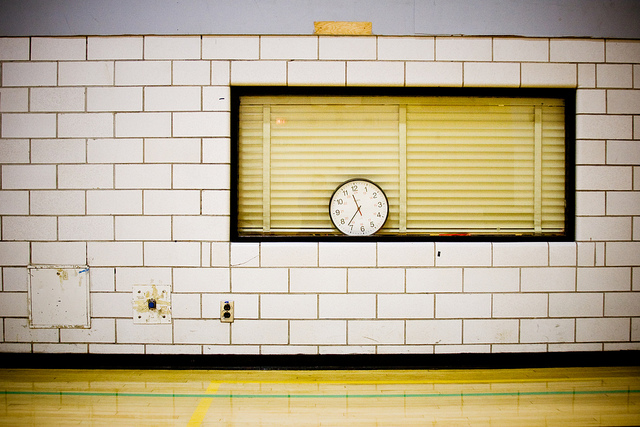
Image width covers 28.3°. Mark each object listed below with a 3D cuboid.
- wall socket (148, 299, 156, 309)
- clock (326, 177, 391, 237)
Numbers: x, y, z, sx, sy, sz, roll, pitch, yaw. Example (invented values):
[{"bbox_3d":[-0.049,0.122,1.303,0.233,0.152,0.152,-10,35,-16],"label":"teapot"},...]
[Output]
[{"bbox_3d":[-1.308,0.721,9.945,0.082,0.039,0.072,-1,-88,7],"label":"wall socket"},{"bbox_3d":[0.301,-0.042,10.014,0.518,0.070,0.443,1,-92,-1],"label":"clock"}]
